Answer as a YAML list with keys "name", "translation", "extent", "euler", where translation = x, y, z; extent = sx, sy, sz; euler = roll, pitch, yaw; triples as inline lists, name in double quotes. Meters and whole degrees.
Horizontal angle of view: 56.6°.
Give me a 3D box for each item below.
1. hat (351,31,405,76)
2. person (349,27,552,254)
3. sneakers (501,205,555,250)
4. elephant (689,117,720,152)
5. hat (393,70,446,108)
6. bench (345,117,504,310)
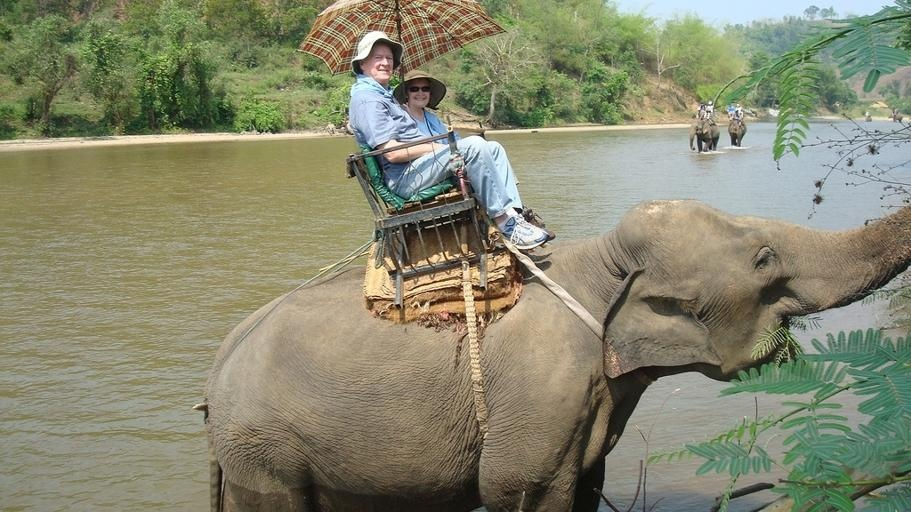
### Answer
- name: "hat"
  translation: [-0.693, -1.711, 7.268]
  extent: [0.404, 0.244, 0.426]
  euler: [-30, -9, -18]
- name: "person"
  translation: [-0.091, -0.975, 7.259]
  extent: [1.649, 1.698, 1.037]
  euler: [1, 17, 10]
- name: "sneakers"
  translation: [0.547, -0.220, 6.905]
  extent: [0.562, 0.237, 0.227]
  euler: [15, 48, 26]
- name: "elephant"
  translation: [10.552, -5.128, 35.885]
  extent: [1.068, 1.376, 1.949]
  euler: [-1, 10, 11]
- name: "hat"
  translation: [-0.305, -1.547, 7.606]
  extent: [0.397, 0.164, 0.360]
  euler: [10, -35, -22]
- name: "bench"
  translation: [-0.224, -0.347, 7.223]
  extent: [1.224, 1.149, 1.054]
  euler: [-11, -1, 10]
